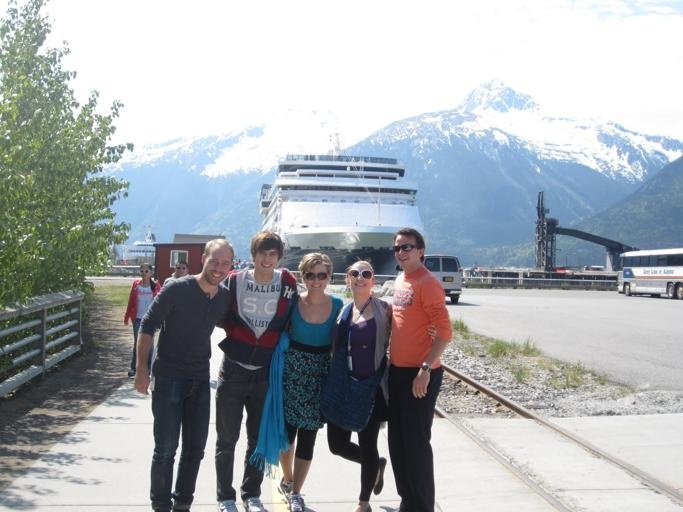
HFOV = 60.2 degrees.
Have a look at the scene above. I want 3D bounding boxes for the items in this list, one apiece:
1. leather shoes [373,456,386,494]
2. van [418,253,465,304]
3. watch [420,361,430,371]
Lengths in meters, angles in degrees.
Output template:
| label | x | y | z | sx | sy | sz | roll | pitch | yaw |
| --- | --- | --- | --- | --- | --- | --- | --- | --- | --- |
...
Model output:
| label | x | y | z | sx | sy | sz | roll | pitch | yaw |
| --- | --- | --- | --- | --- | --- | --- | --- | --- | --- |
| leather shoes | 0.385 | 2.229 | 5.916 | 0.145 | 0.450 | 0.142 | 3 | -2 | -22 |
| van | 5.343 | 1.183 | 30.451 | 1.955 | 2.372 | 3.873 | 0 | -4 | -4 |
| watch | 0.755 | 1.003 | 5.337 | 0.073 | 0.056 | 0.077 | 19 | -1 | -30 |
